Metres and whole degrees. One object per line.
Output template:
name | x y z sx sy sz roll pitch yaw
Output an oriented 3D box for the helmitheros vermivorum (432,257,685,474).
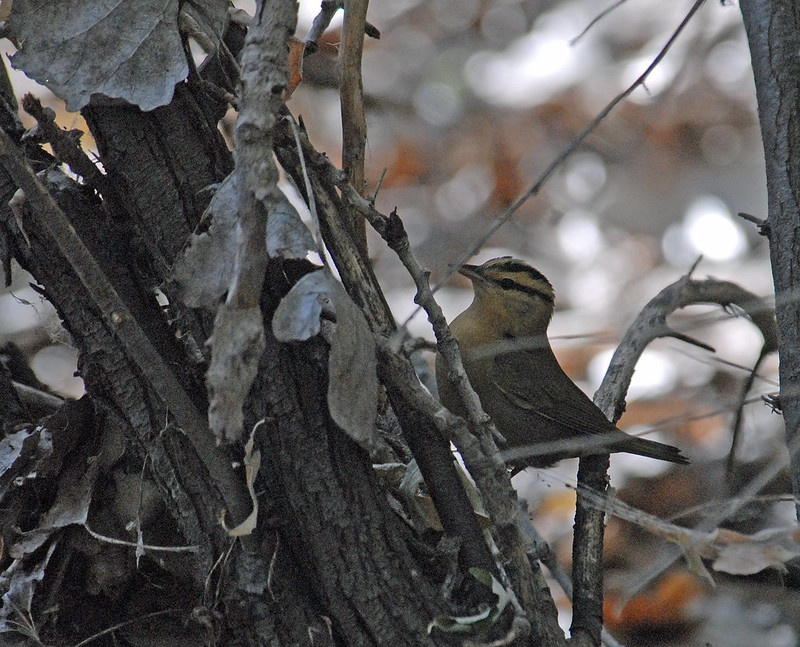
helmitheros vermivorum | 0.385 0.136 3.417 0.569 0.314 0.515 6 -89 -2
